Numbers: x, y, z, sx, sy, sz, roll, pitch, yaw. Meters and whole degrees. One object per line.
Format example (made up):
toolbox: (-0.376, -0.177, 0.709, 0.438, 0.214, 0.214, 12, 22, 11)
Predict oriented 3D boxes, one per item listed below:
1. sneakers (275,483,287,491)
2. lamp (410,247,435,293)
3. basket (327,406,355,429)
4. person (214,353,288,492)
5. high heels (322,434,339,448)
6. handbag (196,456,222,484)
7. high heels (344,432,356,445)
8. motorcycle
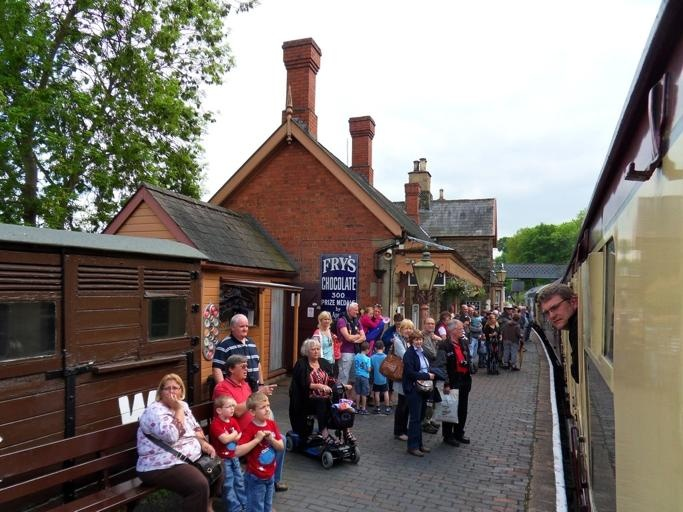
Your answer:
sneakers: (-0.755, 2.875, 6.834, 0.182, 0.136, 0.064, -2, 5, -3)
lamp: (1.820, 0.365, 12.146, 0.724, 1.210, 0.705, -1, 2, 6)
basket: (-0.008, 2.251, 7.662, 0.250, 0.351, 0.475, -5, -8, 26)
person: (-1.062, 1.984, 6.682, 0.918, 1.645, 0.588, -3, 9, 15)
high heels: (-0.175, 2.666, 7.938, 0.136, 0.164, 0.371, -5, -9, -33)
handbag: (-1.351, 2.151, 5.546, 0.174, 0.221, 0.302, -18, -6, 8)
high heels: (0.115, 2.660, 8.039, 0.126, 0.139, 0.331, 0, -9, -2)
motorcycle: (-0.213, 2.629, 8.206, 0.837, 1.397, 1.478, 6, -6, -41)
